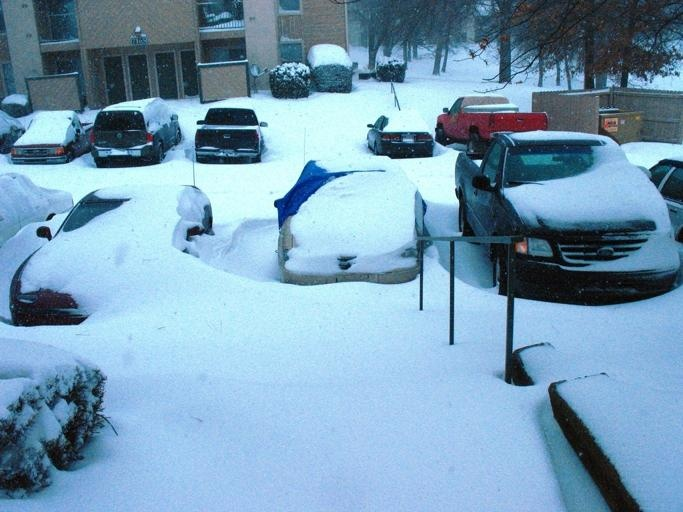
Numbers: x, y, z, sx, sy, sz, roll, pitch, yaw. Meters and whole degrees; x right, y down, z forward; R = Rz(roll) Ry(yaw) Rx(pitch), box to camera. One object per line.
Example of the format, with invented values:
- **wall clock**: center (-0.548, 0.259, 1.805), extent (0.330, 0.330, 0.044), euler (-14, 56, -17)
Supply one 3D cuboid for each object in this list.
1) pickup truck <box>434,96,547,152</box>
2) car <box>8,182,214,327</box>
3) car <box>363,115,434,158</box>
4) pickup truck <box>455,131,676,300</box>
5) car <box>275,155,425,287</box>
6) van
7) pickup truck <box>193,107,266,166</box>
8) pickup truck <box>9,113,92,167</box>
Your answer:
- **pickup truck**: center (4.135, -3.384, 18.107), extent (1.758, 1.239, 3.324), euler (-5, 24, -12)
- **car**: center (-3.259, -0.056, 9.256), extent (1.512, 0.975, 2.894), euler (4, 25, 5)
- **car**: center (1.587, -3.274, 18.192), extent (1.494, 1.083, 3.214), euler (-1, 25, -2)
- **pickup truck**: center (3.005, -0.545, 8.942), extent (1.663, 1.321, 3.295), euler (-2, 21, 2)
- **car**: center (0.152, -0.447, 9.448), extent (1.989, 1.039, 1.977), euler (-2, 21, 1)
- **van**: center (-5.677, -3.551, 18.791), extent (1.528, 1.300, 2.983), euler (0, 25, 1)
- **pickup truck**: center (-3.165, -3.327, 18.251), extent (1.803, 1.454, 1.487), euler (-6, 21, -10)
- **pickup truck**: center (-8.399, -3.384, 19.046), extent (1.417, 1.296, 2.395), euler (-3, 21, 0)
